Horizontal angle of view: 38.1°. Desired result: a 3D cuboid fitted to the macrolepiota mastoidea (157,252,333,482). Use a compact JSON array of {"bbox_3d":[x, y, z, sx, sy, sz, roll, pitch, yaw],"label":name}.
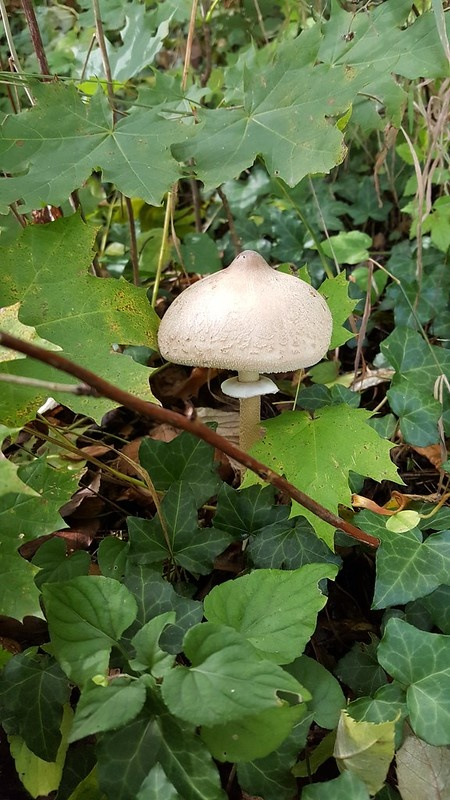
[{"bbox_3d":[0.110,-0.159,1.874,0.542,0.649,0.517,-1,24,-7],"label":"macrolepiota mastoidea"}]
